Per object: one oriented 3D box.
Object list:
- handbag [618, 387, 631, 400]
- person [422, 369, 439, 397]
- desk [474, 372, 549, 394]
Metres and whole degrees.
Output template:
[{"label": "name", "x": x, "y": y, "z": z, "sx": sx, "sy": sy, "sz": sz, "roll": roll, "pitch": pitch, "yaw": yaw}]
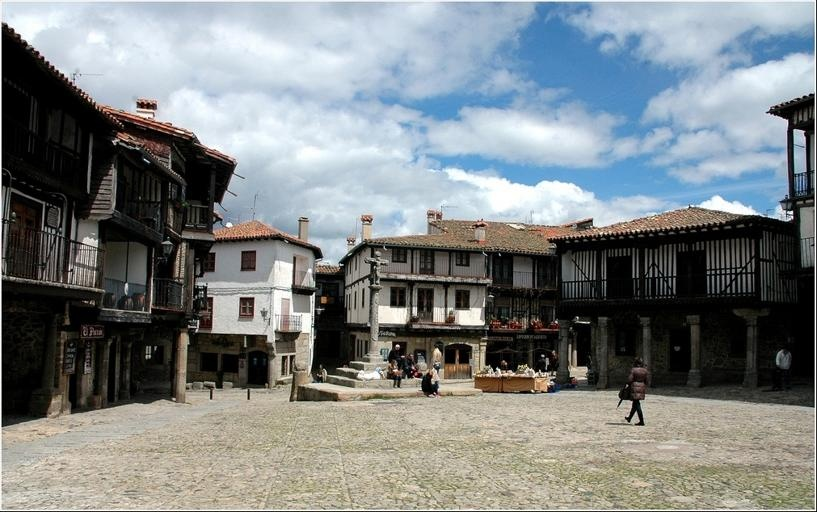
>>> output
[{"label": "handbag", "x": 7.472, "y": 4.746, "z": 25.454, "sx": 0.425, "sy": 0.471, "sz": 0.415, "roll": 4, "pitch": -14, "yaw": -1}, {"label": "person", "x": 0.955, "y": 5.684, "z": 33.071, "sx": 0.749, "sy": 1.213, "sz": 0.663, "roll": 1, "pitch": -13, "yaw": -8}, {"label": "desk", "x": 4.765, "y": 5.906, "z": 34.319, "sx": 3.208, "sy": 0.920, "sz": 0.829, "roll": -3, "pitch": -13, "yaw": 12}]
